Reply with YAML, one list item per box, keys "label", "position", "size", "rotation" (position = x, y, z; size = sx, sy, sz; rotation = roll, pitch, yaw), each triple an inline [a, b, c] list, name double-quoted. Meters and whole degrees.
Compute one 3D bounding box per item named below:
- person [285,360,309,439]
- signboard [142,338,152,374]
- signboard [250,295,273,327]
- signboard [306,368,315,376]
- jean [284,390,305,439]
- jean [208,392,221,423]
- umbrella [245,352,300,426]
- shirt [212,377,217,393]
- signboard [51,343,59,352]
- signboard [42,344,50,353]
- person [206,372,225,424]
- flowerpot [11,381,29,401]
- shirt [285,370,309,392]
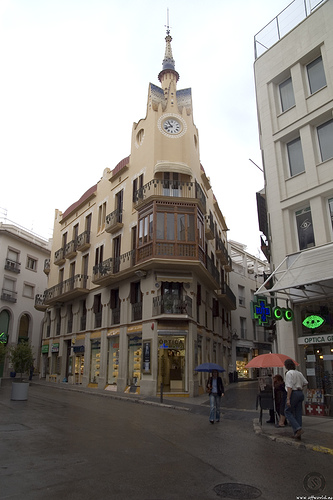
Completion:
- label: "person"
  position: [2.932, 3.396, 7.356]
  size: [0.499, 1.648, 0.662]
  rotation: [-7, -18, 22]
- label: "signboard"
  position: [-1.283, 6.878, 20.878]
  size: [0.164, 2.093, 0.946]
  rotation: [12, -21, -36]
- label: "signboard"
  position: [4.480, 2.829, 15.157]
  size: [0.816, 1.459, 1.855]
  rotation: [-6, -19, 19]
- label: "signboard"
  position: [5.536, 4.687, 12.347]
  size: [0.121, 0.253, 0.237]
  rotation: [11, -22, -26]
- label: "jean"
  position: [2.939, 3.739, 7.372]
  size: [0.447, 1.012, 0.750]
  rotation: [-6, -19, 19]
- label: "jean"
  position: [1.558, 5.166, 10.599]
  size: [0.365, 0.938, 0.701]
  rotation: [-2, -18, 7]
- label: "umbrella"
  position: [3.416, 4.029, 10.452]
  size: [1.347, 2.068, 1.432]
  rotation: [-9, 9, -4]
- label: "shirt"
  position: [1.538, 4.383, 10.413]
  size: [0.246, 0.485, 0.254]
  rotation: [3, -20, -5]
- label: "signboard"
  position: [-11.727, 10.251, 33.805]
  size: [0.315, 0.871, 1.914]
  rotation: [11, -22, -32]
- label: "signboard"
  position: [-13.486, 10.971, 35.866]
  size: [0.586, 0.881, 1.115]
  rotation: [3, -13, -30]
- label: "person"
  position: [1.593, 4.830, 10.558]
  size: [0.518, 1.545, 0.797]
  rotation: [-2, -17, 7]
- label: "flowerpot"
  position: [-6.509, 6.288, 14.285]
  size: [0.664, 0.743, 0.775]
  rotation: [9, -20, -25]
- label: "shirt"
  position: [2.950, 3.092, 7.365]
  size: [0.571, 0.532, 0.337]
  rotation: [3, -12, -13]
